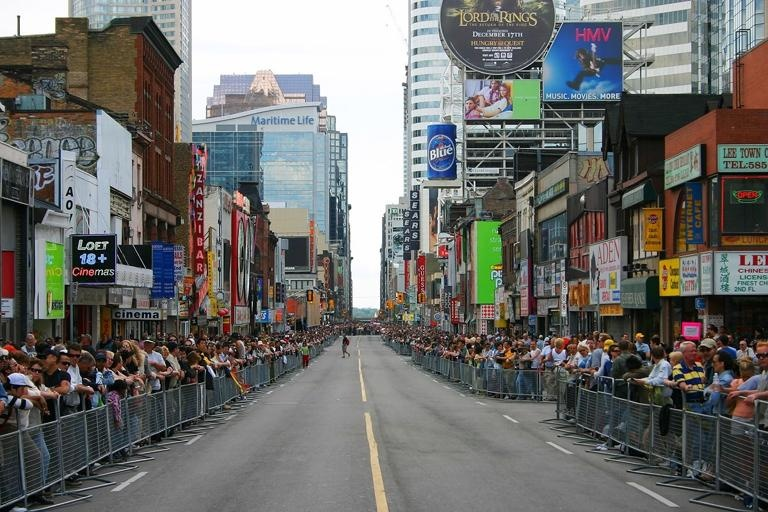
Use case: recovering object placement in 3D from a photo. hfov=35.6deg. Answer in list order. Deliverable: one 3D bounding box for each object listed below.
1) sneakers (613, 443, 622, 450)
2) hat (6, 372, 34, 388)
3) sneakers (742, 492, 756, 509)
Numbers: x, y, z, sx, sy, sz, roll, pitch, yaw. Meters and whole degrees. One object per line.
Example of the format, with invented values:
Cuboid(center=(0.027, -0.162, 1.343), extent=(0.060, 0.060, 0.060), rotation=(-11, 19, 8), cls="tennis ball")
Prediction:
Cuboid(center=(7.590, 6.185, 38.661), extent=(0.232, 0.256, 0.190), rotation=(3, -5, -9), cls="sneakers")
Cuboid(center=(-9.914, 3.403, 32.714), extent=(0.466, 0.254, 0.325), rotation=(6, 2, -21), cls="hat")
Cuboid(center=(10.020, 6.786, 32.847), extent=(0.111, 0.322, 0.241), rotation=(19, -16, -31), cls="sneakers")
